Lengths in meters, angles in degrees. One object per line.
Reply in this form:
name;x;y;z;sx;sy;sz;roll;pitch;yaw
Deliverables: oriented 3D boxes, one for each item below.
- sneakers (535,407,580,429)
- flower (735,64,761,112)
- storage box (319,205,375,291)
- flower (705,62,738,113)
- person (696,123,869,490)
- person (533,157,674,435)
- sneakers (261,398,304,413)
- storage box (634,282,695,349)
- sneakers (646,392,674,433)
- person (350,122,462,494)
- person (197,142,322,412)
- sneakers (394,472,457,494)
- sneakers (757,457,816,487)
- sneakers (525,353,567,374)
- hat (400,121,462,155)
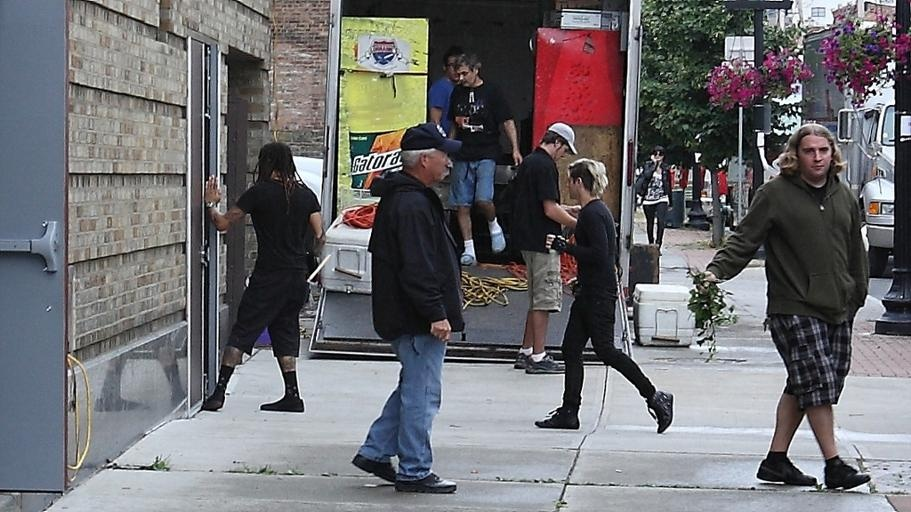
sneakers;1.028;1.584;10.297;0.521;0.214;0.175;2;-1;11
flower;5.739;-3.363;20.439;0.759;0.740;0.623;-2;5;9
storage box;-1.293;-0.135;13.383;0.704;0.809;1.232;5;27;2
flower;5.263;-3.351;20.524;0.539;0.912;0.786;3;9;14
person;2.946;0.404;8.848;1.223;3.014;0.624;3;9;18
person;1.386;0.354;10.335;1.102;2.552;1.370;-3;10;-22
sneakers;-1.735;1.508;10.628;0.482;0.184;0.160;2;-4;4
storage box;2.743;0.788;13.812;0.933;0.863;0.887;1;6;5
sneakers;1.988;1.488;10.134;0.220;0.393;0.261;4;10;20
person;-0.378;0.431;8.693;0.854;3.012;0.566;0;9;-1
person;-1.937;0.186;10.726;1.082;2.673;0.901;0;9;-5
sneakers;-0.246;1.899;8.789;0.523;0.208;0.182;-1;-2;2
sneakers;2.877;1.819;8.864;0.583;0.265;0.203;1;0;-3
sneakers;1.043;1.243;12.062;0.448;0.208;0.194;0;0;-3
hat;-0.238;-0.998;8.780;0.408;0.198;0.253;-4;15;-4
